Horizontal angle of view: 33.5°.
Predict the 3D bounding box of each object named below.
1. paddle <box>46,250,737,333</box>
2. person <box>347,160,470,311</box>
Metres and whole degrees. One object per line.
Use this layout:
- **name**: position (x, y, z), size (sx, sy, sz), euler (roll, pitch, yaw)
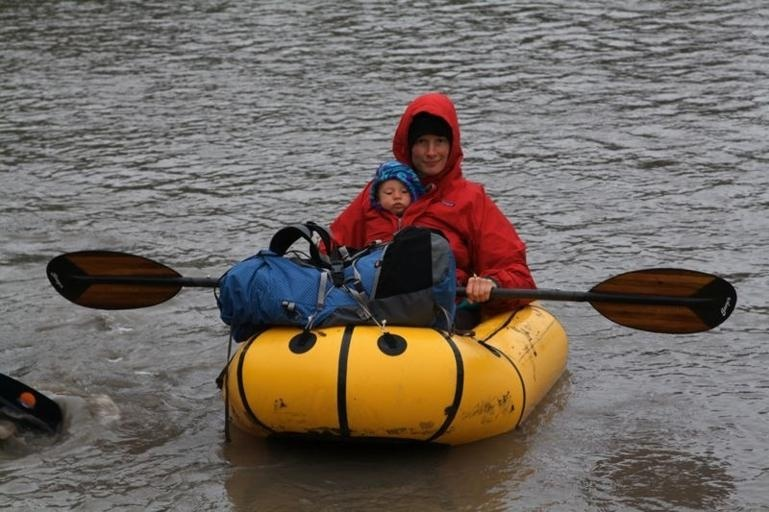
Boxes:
- **paddle**: position (0.014, 0.316, 11.194), size (6.062, 0.629, 0.558), euler (2, 40, 5)
- **person**: position (0.027, -0.269, 11.920), size (1.229, 1.166, 0.494), euler (2, 4, 2)
